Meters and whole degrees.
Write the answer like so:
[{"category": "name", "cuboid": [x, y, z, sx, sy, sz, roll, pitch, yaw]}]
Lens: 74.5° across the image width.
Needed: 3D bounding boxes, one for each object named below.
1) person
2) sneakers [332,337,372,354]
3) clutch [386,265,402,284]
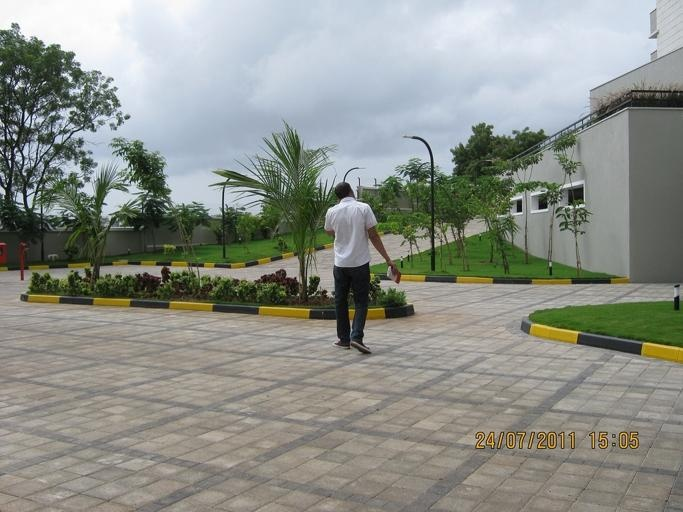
[{"category": "person", "cuboid": [0.181, 0.125, 6.939, 0.835, 2.609, 0.487, 0, 1, 40]}, {"category": "sneakers", "cuboid": [0.159, 1.344, 6.872, 0.201, 0.205, 0.586, 9, -2, -21]}, {"category": "clutch", "cuboid": [0.797, 0.282, 6.779, 0.081, 0.268, 0.291, -37, 24, -18]}]
